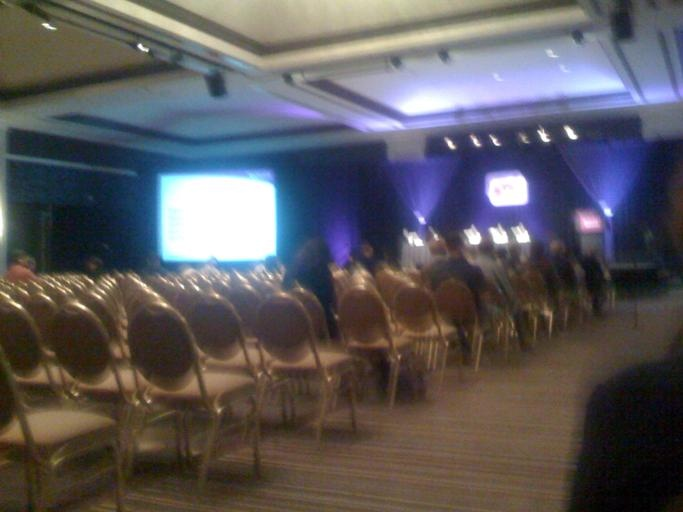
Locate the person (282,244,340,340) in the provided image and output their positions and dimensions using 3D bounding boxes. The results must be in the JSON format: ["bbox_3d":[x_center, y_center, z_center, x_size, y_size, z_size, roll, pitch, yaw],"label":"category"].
[{"bbox_3d":[-0.514,0.416,5.914,0.523,0.946,0.922,-9,-3,11],"label":"person"}]
